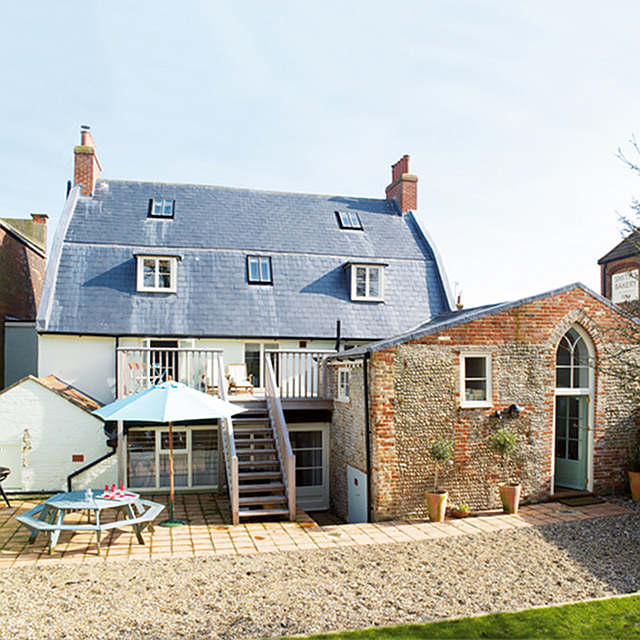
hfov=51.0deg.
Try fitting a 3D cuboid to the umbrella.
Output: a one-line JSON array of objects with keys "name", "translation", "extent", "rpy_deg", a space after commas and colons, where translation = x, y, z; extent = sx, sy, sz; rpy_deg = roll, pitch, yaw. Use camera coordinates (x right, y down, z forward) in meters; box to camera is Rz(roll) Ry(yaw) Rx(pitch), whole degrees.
[{"name": "umbrella", "translation": [-3.405, 2.821, 14.916], "extent": [3.313, 2.909, 3.308], "rpy_deg": [0, -8, -1]}]

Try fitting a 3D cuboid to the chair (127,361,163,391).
[{"name": "chair", "translation": [-4.919, 1.614, 18.437], "extent": [1.057, 0.681, 1.107], "rpy_deg": [3, 3, 32]}]

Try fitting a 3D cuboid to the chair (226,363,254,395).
[{"name": "chair", "translation": [-2.345, 1.737, 19.344], "extent": [0.750, 1.108, 0.855], "rpy_deg": [1, -3, -18]}]

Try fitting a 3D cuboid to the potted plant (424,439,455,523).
[{"name": "potted plant", "translation": [2.754, 3.721, 15.518], "extent": [0.567, 1.729, 0.685], "rpy_deg": [1, 0, 11]}]

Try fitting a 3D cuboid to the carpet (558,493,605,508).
[{"name": "carpet", "translation": [6.453, 4.447, 16.415], "extent": [1.154, 0.160, 0.554], "rpy_deg": [1, 1, -17]}]

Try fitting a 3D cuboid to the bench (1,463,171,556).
[{"name": "bench", "translation": [-4.699, 3.979, 13.735], "extent": [2.495, 0.857, 3.130], "rpy_deg": [1, 1, -18]}]

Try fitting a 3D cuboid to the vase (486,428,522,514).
[{"name": "vase", "translation": [4.444, 3.620, 15.937], "extent": [0.818, 1.930, 0.784], "rpy_deg": [1, 0, -1]}]
